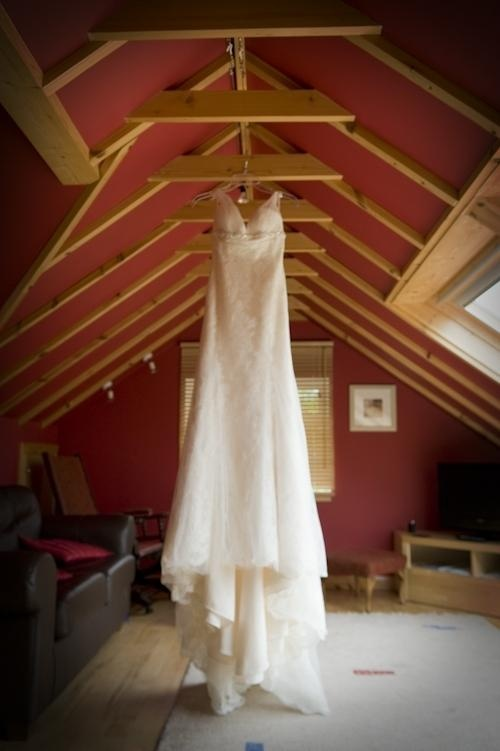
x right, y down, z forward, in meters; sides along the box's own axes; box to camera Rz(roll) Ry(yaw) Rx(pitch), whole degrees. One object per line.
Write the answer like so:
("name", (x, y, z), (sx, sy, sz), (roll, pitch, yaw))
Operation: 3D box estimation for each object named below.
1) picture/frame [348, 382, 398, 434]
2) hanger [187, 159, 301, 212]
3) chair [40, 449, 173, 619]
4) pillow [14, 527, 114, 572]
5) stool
("picture/frame", (1.128, 0.320, 5.361), (0.441, 0.467, 0.031), (0, -3, 7))
("hanger", (-0.033, -0.959, 3.000), (0.515, 0.262, 0.051), (2, -4, 16))
("chair", (-1.044, 1.244, 4.675), (0.901, 1.306, 0.790), (-5, -9, 9))
("pillow", (-0.950, 0.937, 3.147), (0.309, 0.104, 0.339), (11, -13, 13))
("stool", (0.855, 1.494, 4.365), (0.541, 0.474, 0.552), (0, -19, -7))
